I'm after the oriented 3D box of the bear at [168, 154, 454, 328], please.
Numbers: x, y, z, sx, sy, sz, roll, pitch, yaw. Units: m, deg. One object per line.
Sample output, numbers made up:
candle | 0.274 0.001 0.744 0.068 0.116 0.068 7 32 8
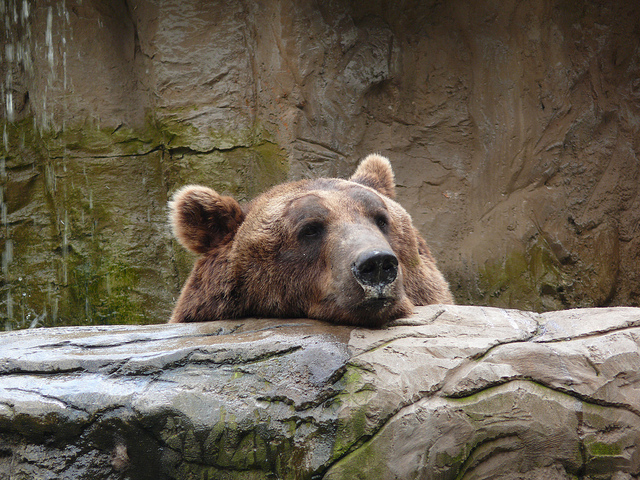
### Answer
bear | -0.345 0.134 10.570 1.979 1.423 1.997 -2 -4 -23
